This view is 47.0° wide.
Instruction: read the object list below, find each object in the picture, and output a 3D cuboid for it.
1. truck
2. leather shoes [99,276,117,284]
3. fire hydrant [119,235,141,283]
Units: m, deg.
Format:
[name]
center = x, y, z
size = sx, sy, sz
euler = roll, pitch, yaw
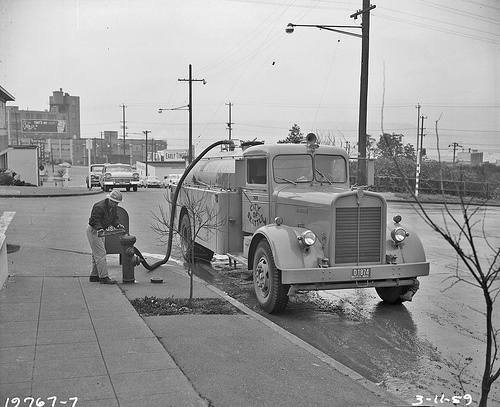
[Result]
[truck]
center = 0.591, 0.188, 13.417
size = 2.500, 3.050, 7.287
euler = 0, -1, -21
[leather shoes]
center = -2.881, 1.547, 11.685
size = 0.337, 0.163, 0.133
euler = 1, 0, -6
[fire hydrant]
center = -2.526, 1.134, 11.976
size = 0.450, 0.939, 0.588
euler = 2, 6, -19
